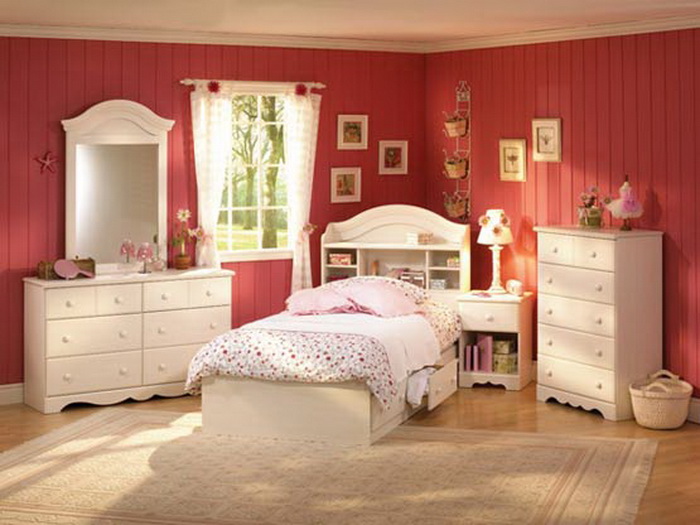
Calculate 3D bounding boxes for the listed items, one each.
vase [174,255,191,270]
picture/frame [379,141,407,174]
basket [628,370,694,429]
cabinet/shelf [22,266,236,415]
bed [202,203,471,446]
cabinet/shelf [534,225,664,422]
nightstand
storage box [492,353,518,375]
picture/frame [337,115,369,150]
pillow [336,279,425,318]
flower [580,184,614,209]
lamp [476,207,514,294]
[{"bbox_3d":[-1.634,-0.004,5.929,0.134,0.103,0.137,8,10,43],"label":"vase"},{"bbox_3d":[0.456,-1.172,6.712,0.373,0.406,0.028,-1,6,-19],"label":"picture/frame"},{"bbox_3d":[2.502,1.100,4.873,0.491,0.352,0.433,4,10,36],"label":"basket"},{"bbox_3d":[-1.896,0.734,5.672,1.693,1.065,0.584,-4,-4,-7],"label":"cabinet/shelf"},{"bbox_3d":[0.108,0.361,5.349,1.696,1.814,2.431,2,6,29],"label":"bed"},{"bbox_3d":[2.061,0.498,5.110,1.018,1.550,0.430,2,6,26],"label":"cabinet/shelf"},{"bbox_3d":[1.407,0.759,6.164,0.846,1.195,0.869,0,1,26],"label":"nightstand"},{"bbox_3d":[1.496,0.969,5.814,0.301,0.214,0.165,1,5,14],"label":"storage box"},{"bbox_3d":[0.009,-1.419,6.544,0.383,0.387,0.013,-1,8,-19],"label":"picture/frame"},{"bbox_3d":[0.312,0.312,5.346,0.419,0.103,0.426,31,21,33],"label":"pillow"},{"bbox_3d":[2.211,-0.587,5.445,0.270,0.203,0.391,2,6,20],"label":"flower"},{"bbox_3d":[1.457,-0.123,6.082,0.327,0.815,0.455,1,6,13],"label":"lamp"}]
